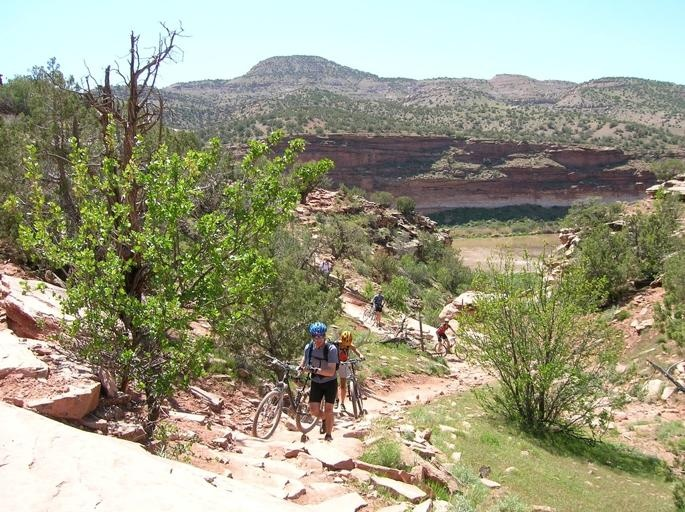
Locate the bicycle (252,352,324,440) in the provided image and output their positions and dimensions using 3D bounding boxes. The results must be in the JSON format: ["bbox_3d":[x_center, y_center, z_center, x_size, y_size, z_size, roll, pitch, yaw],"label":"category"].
[{"bbox_3d":[-1.028,2.861,11.960,1.005,1.504,2.436,12,-5,29],"label":"bicycle"}]

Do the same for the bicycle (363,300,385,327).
[{"bbox_3d":[1.258,2.319,23.657,0.792,1.007,1.631,6,-7,-11],"label":"bicycle"}]

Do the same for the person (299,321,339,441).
[{"bbox_3d":[-0.429,2.234,10.822,0.661,1.778,0.395,3,1,-1],"label":"person"}]

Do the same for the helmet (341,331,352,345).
[{"bbox_3d":[0.139,1.686,12.201,0.227,0.292,0.298,5,-7,-7],"label":"helmet"}]

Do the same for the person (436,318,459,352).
[{"bbox_3d":[4.059,3.045,23.368,0.607,1.234,3.678,3,0,11],"label":"person"}]

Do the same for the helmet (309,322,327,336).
[{"bbox_3d":[-0.446,1.329,10.919,0.222,0.275,0.285,1,-1,-16],"label":"helmet"}]
